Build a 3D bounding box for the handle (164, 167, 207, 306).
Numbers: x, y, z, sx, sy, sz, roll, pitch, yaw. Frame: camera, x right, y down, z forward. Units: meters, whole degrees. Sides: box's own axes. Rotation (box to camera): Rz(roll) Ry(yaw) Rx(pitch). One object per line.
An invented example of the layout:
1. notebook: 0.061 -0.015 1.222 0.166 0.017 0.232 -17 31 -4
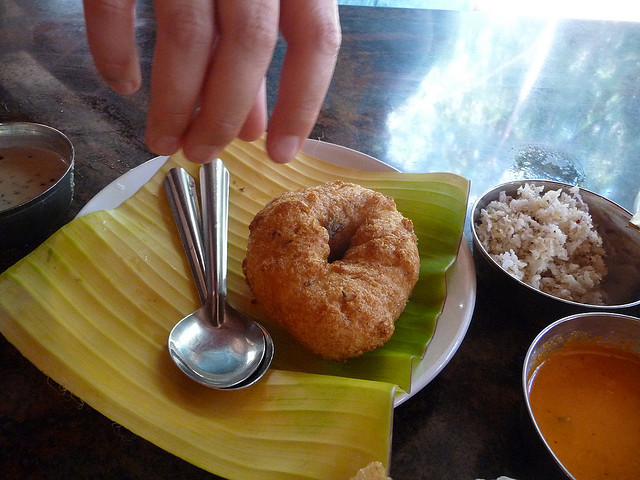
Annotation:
1. handle: -0.423 -0.035 1.632 0.113 0.078 0.529 -15 59 0
